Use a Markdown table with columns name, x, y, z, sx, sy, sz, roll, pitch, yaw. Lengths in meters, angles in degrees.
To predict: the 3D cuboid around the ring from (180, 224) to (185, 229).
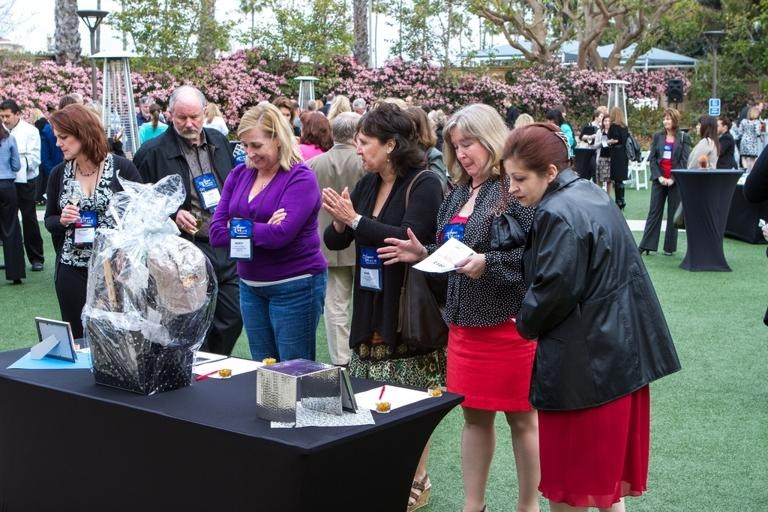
| name | x | y | z | sx | sy | sz | roll | pitch | yaw |
| --- | --- | --- | --- | --- | --- | --- | --- | --- | --- |
| ring | -1.345 | -0.202 | 4.338 | 0.009 | 0.023 | 0.024 | -37 | -25 | -11 |

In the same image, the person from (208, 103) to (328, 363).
| name | x | y | z | sx | sy | sz | roll | pitch | yaw |
| --- | --- | --- | --- | --- | --- | --- | --- | --- | --- |
| person | -0.724 | -0.121 | 4.029 | 0.667 | 1.604 | 0.507 | 3 | 15 | 12 |

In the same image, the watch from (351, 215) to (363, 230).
| name | x | y | z | sx | sy | sz | roll | pitch | yaw |
| --- | --- | --- | --- | --- | --- | --- | --- | --- | --- |
| watch | -0.153 | -0.195 | 3.688 | 0.036 | 0.060 | 0.055 | 32 | -39 | -4 |

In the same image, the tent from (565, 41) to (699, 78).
| name | x | y | z | sx | sy | sz | roll | pitch | yaw |
| --- | --- | --- | --- | --- | --- | --- | --- | --- | --- |
| tent | 15.650 | -11.344 | 37.466 | 6.830 | 1.675 | 6.418 | -1 | 17 | -2 |

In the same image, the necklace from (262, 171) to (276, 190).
| name | x | y | z | sx | sy | sz | roll | pitch | yaw |
| --- | --- | --- | --- | --- | --- | --- | --- | --- | --- |
| necklace | -0.713 | -0.471 | 4.044 | 0.070 | 0.079 | 0.097 | 1 | 31 | 1 |

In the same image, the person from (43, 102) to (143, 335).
| name | x | y | z | sx | sy | sz | roll | pitch | yaw |
| --- | --- | --- | --- | --- | --- | --- | --- | --- | --- |
| person | -1.955 | -0.230 | 4.367 | 0.569 | 1.534 | 0.576 | -8 | 16 | -27 |

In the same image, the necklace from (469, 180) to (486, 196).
| name | x | y | z | sx | sy | sz | roll | pitch | yaw |
| --- | --- | --- | --- | --- | --- | --- | --- | --- | --- |
| necklace | 0.499 | -0.367 | 3.469 | 0.060 | 0.069 | 0.050 | 21 | 0 | -13 |

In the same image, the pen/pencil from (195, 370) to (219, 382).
| name | x | y | z | sx | sy | sz | roll | pitch | yaw |
| --- | --- | --- | --- | --- | --- | --- | --- | --- | --- |
| pen/pencil | -0.827 | 0.550 | 3.018 | 0.124 | 0.023 | 0.028 | -22 | 22 | -40 |

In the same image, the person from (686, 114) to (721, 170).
| name | x | y | z | sx | sy | sz | roll | pitch | yaw |
| --- | --- | --- | --- | --- | --- | --- | --- | --- | --- |
| person | 4.651 | -1.642 | 9.415 | 0.396 | 0.743 | 0.735 | 6 | 16 | 24 |
